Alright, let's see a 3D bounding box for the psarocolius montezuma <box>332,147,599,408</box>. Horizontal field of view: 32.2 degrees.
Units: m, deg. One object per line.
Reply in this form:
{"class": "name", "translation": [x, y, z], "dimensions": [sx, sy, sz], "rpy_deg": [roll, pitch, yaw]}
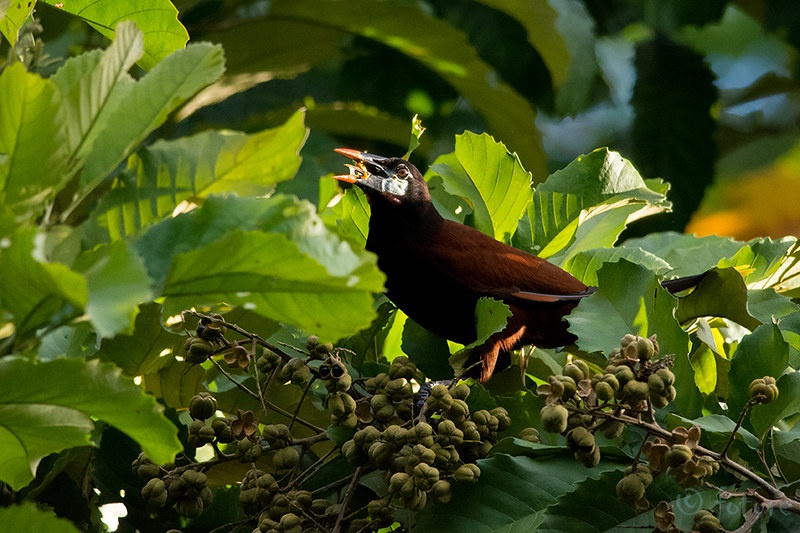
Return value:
{"class": "psarocolius montezuma", "translation": [0.170, 0.009, 2.671], "dimensions": [0.620, 0.384, 0.215], "rpy_deg": [6, -4, -10]}
